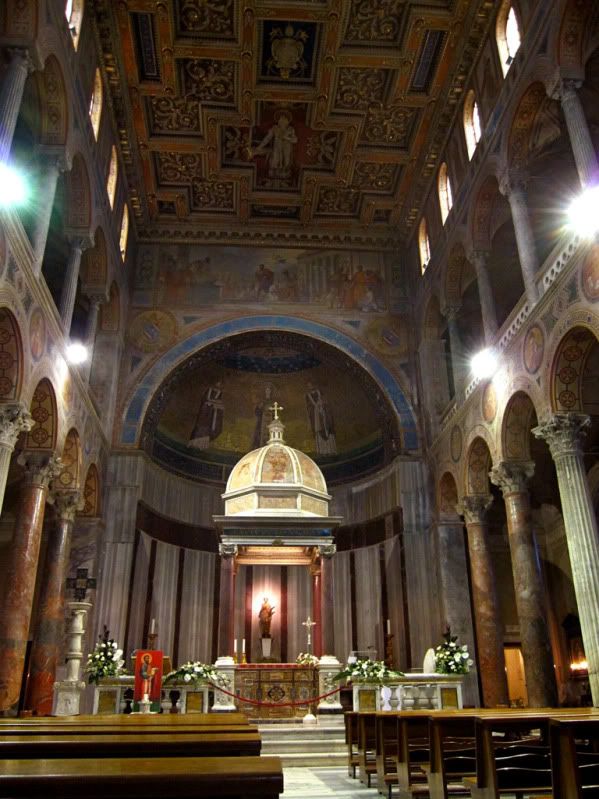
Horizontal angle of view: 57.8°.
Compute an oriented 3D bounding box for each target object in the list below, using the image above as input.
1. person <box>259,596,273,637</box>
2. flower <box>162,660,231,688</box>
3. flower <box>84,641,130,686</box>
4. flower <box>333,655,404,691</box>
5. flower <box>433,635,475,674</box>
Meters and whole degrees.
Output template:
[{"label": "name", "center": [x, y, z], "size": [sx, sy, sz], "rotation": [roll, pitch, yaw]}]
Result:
[{"label": "person", "center": [-0.941, 5.962, 14.719], "size": [0.266, 1.004, 0.498], "rotation": [-2, -26, 2]}, {"label": "flower", "center": [-2.029, 5.374, 10.549], "size": [0.776, 0.332, 0.790], "rotation": [2, -13, -10]}, {"label": "flower", "center": [-3.979, 5.447, 11.239], "size": [0.686, 0.828, 1.052], "rotation": [9, -28, -18]}, {"label": "flower", "center": [1.224, 5.079, 10.112], "size": [0.917, 0.479, 1.086], "rotation": [12, -29, -24]}, {"label": "flower", "center": [2.960, 5.106, 10.743], "size": [0.672, 0.654, 0.986], "rotation": [-6, -27, 11]}]
